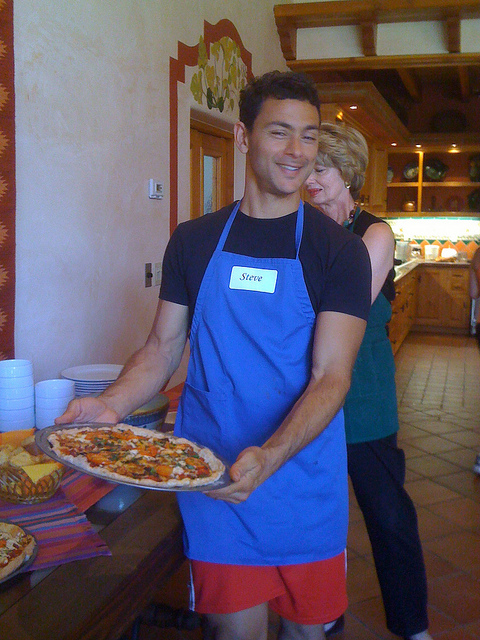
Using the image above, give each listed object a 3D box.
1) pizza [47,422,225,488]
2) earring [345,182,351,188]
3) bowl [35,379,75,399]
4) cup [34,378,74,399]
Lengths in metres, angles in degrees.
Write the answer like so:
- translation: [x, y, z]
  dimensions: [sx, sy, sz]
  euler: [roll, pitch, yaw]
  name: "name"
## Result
- translation: [-0.221, 0.241, 0.910]
  dimensions: [0.342, 0.032, 0.254]
  euler: [18, -39, -6]
  name: "pizza"
- translation: [0.359, -0.450, 1.625]
  dimensions: [0.013, 0.013, 0.039]
  euler: [4, 8, 28]
  name: "earring"
- translation: [-0.510, 0.180, 1.340]
  dimensions: [0.060, 0.044, 0.059]
  euler: [1, 0, 0]
  name: "bowl"
- translation: [-0.499, 0.188, 1.319]
  dimensions: [0.062, 0.045, 0.061]
  euler: [1, -1, 0]
  name: "cup"
